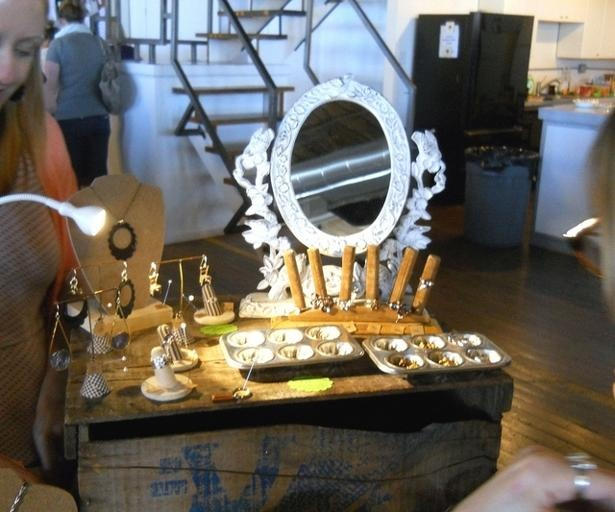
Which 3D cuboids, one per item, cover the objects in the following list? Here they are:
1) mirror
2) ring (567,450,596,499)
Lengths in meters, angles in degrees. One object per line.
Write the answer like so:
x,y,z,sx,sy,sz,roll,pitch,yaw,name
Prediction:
0.109,-0.204,1.841,0.715,0.775,0.312,-3,21,-8,mirror
0.412,0.317,0.802,0.040,0.037,0.104,11,22,27,ring
